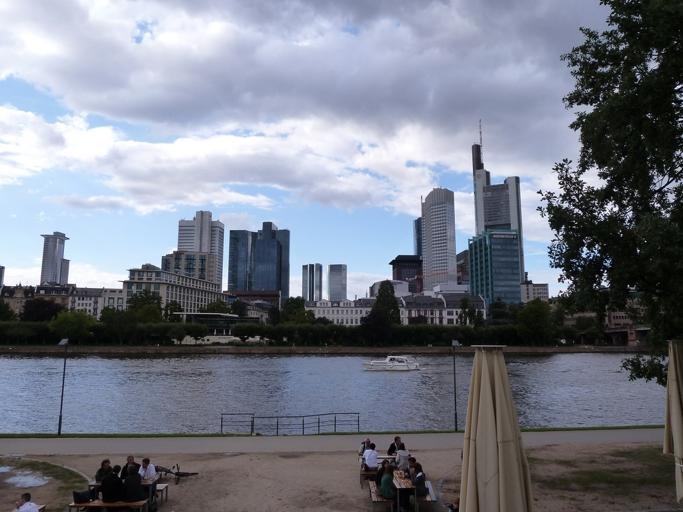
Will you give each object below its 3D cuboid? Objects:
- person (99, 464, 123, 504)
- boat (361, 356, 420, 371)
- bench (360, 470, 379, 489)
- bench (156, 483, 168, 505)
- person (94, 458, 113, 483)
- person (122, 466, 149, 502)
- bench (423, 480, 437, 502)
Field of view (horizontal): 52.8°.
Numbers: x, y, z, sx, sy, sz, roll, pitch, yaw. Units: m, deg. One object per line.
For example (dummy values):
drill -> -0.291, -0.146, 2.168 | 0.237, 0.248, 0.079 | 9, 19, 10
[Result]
person -> -8.874, 8.821, 26.739 | 0.993, 1.428, 0.825 | 8, 11, -20
boat -> 6.447, 13.709, 87.735 | 6.795, 1.829, 5.668 | 0, -8, 8
bench -> 1.129, 9.158, 28.508 | 0.747, 0.499, 1.031 | 1, -22, 1
bench -> -7.367, 9.596, 27.760 | 0.671, 0.727, 0.883 | -1, -8, -1
person -> -9.591, 8.662, 27.783 | 0.748, 1.036, 0.475 | 11, 3, 11
person -> -7.986, 8.862, 26.617 | 1.317, 1.523, 0.910 | -1, -2, -4
bench -> 3.551, 9.358, 27.371 | 0.437, 0.816, 1.681 | 0, -8, 8
